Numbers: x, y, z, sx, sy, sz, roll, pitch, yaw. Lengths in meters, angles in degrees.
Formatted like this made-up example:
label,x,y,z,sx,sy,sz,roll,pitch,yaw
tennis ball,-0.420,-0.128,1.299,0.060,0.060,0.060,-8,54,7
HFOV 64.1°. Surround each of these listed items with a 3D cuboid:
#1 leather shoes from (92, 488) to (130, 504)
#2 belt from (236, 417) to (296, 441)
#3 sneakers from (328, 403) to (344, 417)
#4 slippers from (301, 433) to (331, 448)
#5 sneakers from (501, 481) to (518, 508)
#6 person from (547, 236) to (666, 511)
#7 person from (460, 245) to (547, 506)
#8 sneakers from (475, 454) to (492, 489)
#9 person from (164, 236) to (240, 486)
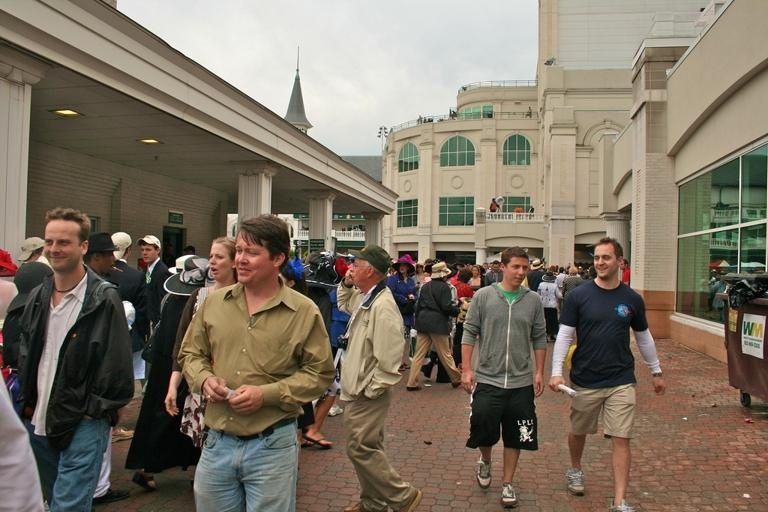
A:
label,x,y,z,sx,sy,sz,roll,pitch,yaw
leather shoes,-3.042,2.642,6.839,0.358,0.150,0.130,-2,2,-22
belt,-0.963,1.414,5.012,0.454,0.122,0.091,2,-1,-21
sneakers,-0.805,2.536,10.101,0.125,0.151,0.361,6,8,26
slippers,-0.939,2.539,8.435,0.464,0.183,0.166,1,0,10
sneakers,1.408,2.684,6.921,0.137,0.130,0.305,-1,-5,5
person,2.539,1.288,7.026,1.169,2.999,0.759,1,-1,13
person,1.376,1.478,7.156,0.944,2.640,0.652,1,-1,11
sneakers,1.183,2.535,7.267,0.149,0.157,0.402,2,33,7
person,-1.846,1.188,6.553,1.005,2.538,0.956,1,7,-14
